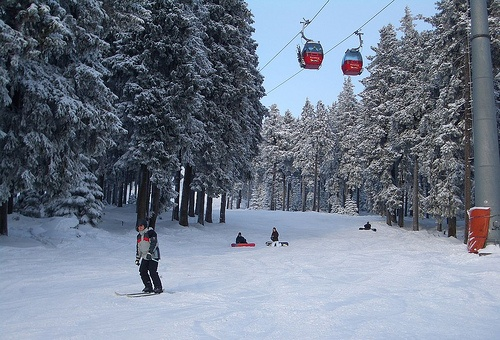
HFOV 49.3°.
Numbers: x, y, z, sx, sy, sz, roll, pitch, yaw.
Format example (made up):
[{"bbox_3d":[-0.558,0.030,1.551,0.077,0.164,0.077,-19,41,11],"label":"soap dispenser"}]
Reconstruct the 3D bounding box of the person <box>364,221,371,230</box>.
[{"bbox_3d":[9.320,4.457,43.824,0.644,0.732,0.452,-1,-27,29],"label":"person"}]

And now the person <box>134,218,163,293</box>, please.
[{"bbox_3d":[-4.250,3.631,22.991,1.096,3.084,0.585,2,-3,-13],"label":"person"}]

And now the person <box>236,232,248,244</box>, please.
[{"bbox_3d":[-0.595,4.623,36.965,0.478,0.790,0.312,-16,-39,13],"label":"person"}]

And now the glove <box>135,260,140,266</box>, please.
[{"bbox_3d":[-4.726,3.892,22.896,0.168,0.209,0.407,2,-4,-12],"label":"glove"}]

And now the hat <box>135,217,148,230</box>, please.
[{"bbox_3d":[-4.586,2.280,23.049,0.342,0.471,0.452,3,4,-23],"label":"hat"}]
